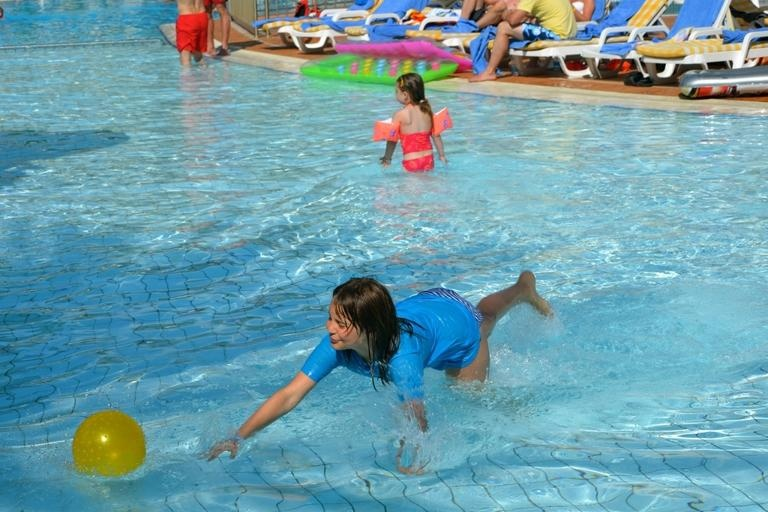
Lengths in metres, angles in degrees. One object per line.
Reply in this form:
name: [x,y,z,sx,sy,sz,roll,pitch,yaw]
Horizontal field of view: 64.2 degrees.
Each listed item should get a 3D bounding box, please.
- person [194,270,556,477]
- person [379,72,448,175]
person: [0.231,0.443,3.093,1.774,0.603,0.995,-32,32,-31]
person: [0.357,-1.357,6.319,0.693,1.009,0.278,3,22,-8]
